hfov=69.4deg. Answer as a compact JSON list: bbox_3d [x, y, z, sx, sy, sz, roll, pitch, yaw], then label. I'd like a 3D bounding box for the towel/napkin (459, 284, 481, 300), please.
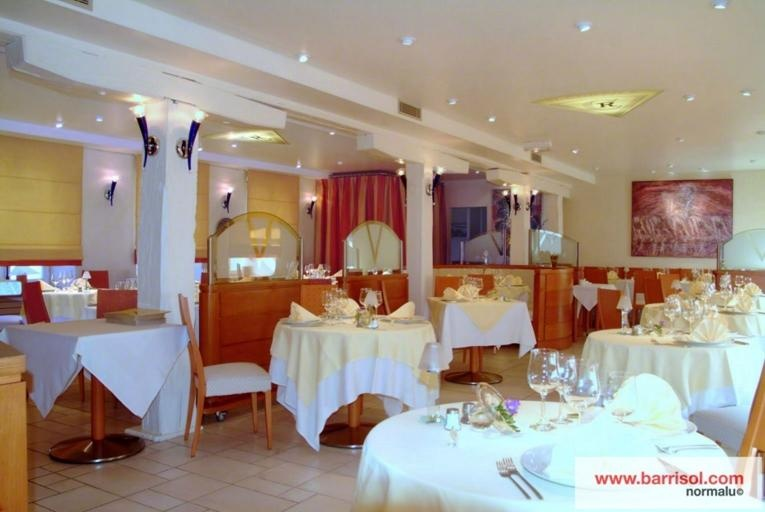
[{"bbox_3d":[1.134,0.462,7.206,0.194,0.154,0.228,1,4,15],"label":"towel/napkin"}]

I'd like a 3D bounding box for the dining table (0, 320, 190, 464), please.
[{"bbox_3d":[-2.421,1.121,4.976,1.372,1.134,1.378,4,5,39],"label":"dining table"}]

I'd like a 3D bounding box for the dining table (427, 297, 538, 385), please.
[{"bbox_3d":[1.183,1.055,7.062,1.193,1.049,0.982,-1,7,-16],"label":"dining table"}]

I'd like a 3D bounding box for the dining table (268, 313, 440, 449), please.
[{"bbox_3d":[-0.277,0.938,4.628,1.256,0.773,1.254,-1,4,-13],"label":"dining table"}]

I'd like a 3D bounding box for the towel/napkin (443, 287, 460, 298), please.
[{"bbox_3d":[0.886,0.473,7.022,0.201,0.118,0.226,1,6,5],"label":"towel/napkin"}]

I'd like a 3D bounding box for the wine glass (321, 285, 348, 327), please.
[{"bbox_3d":[-0.490,0.451,5.142,0.276,0.413,0.255,-2,5,-17],"label":"wine glass"}]

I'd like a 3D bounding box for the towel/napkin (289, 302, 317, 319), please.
[{"bbox_3d":[-0.710,0.488,4.975,0.218,0.080,0.160,3,-2,-7],"label":"towel/napkin"}]

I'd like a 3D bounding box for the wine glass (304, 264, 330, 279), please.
[{"bbox_3d":[-0.844,0.205,7.099,0.217,0.145,0.234,1,-1,-6],"label":"wine glass"}]

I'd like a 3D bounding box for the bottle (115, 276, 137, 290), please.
[{"bbox_3d":[-3.828,0.393,8.163,0.135,0.178,0.158,-2,-7,16],"label":"bottle"}]

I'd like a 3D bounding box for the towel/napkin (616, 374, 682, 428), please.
[{"bbox_3d":[1.185,0.654,2.497,0.278,0.221,0.110,-20,17,31],"label":"towel/napkin"}]

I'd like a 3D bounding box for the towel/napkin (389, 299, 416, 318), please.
[{"bbox_3d":[0.216,0.514,5.257,0.161,0.117,0.233,15,17,40],"label":"towel/napkin"}]
